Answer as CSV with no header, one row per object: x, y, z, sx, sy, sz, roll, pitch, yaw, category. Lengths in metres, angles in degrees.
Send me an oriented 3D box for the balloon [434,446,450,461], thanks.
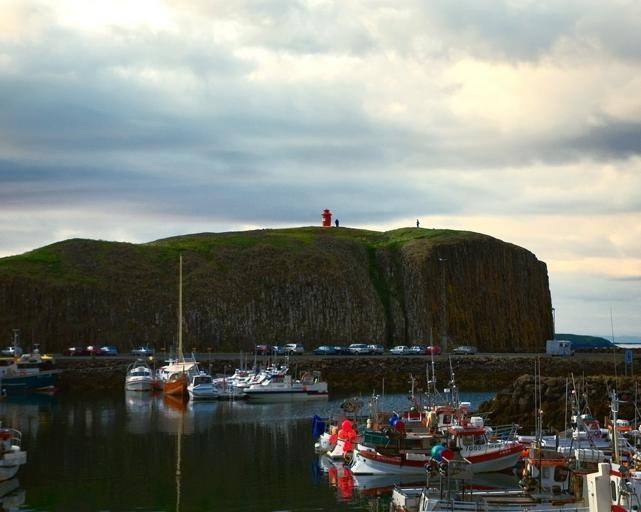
6.731,10.697,60.840,0.582,0.673,0.649,0,-5,7,balloon

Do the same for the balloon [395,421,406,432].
4.925,10.266,67.488,0.504,0.523,0.603,0,-7,-26,balloon

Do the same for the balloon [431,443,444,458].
6.465,10.718,61.168,0.735,0.735,0.735,-9,20,20,balloon

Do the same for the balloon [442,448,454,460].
7.016,10.725,60.785,0.467,0.589,0.784,0,0,30,balloon

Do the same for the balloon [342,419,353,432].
1.803,10.682,70.900,0.641,0.742,0.640,7,22,6,balloon
